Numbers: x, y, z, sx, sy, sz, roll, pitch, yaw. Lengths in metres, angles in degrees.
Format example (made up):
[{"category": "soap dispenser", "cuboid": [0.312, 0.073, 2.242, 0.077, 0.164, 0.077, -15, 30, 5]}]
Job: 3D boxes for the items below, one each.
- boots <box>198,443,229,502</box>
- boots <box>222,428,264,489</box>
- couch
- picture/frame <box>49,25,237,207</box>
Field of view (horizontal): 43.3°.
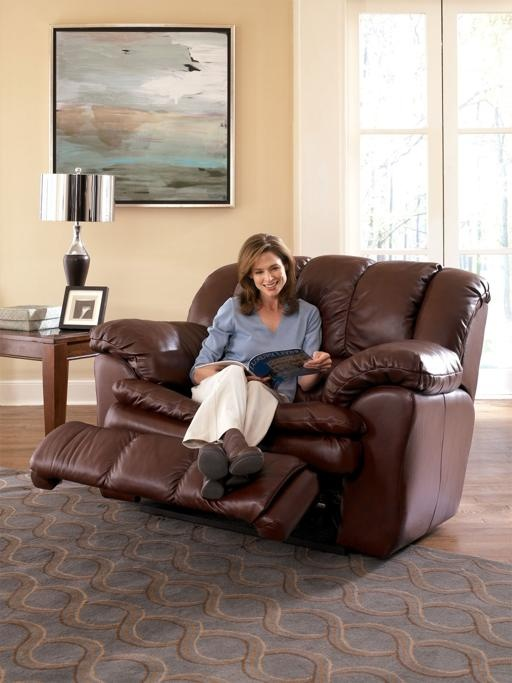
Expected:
[{"category": "boots", "cuboid": [-0.105, 0.330, 1.694, 0.063, 0.157, 0.121, 0, 2, 3]}, {"category": "boots", "cuboid": [-0.043, 0.300, 1.704, 0.065, 0.116, 0.175, 10, -27, -17]}, {"category": "couch", "cuboid": [0.036, 0.132, 2.187, 1.239, 0.746, 1.239, 5, 10, 28]}, {"category": "picture/frame", "cuboid": [-0.703, -1.440, 3.982, 1.519, 1.224, 0.056, 0, 7, 4]}]
